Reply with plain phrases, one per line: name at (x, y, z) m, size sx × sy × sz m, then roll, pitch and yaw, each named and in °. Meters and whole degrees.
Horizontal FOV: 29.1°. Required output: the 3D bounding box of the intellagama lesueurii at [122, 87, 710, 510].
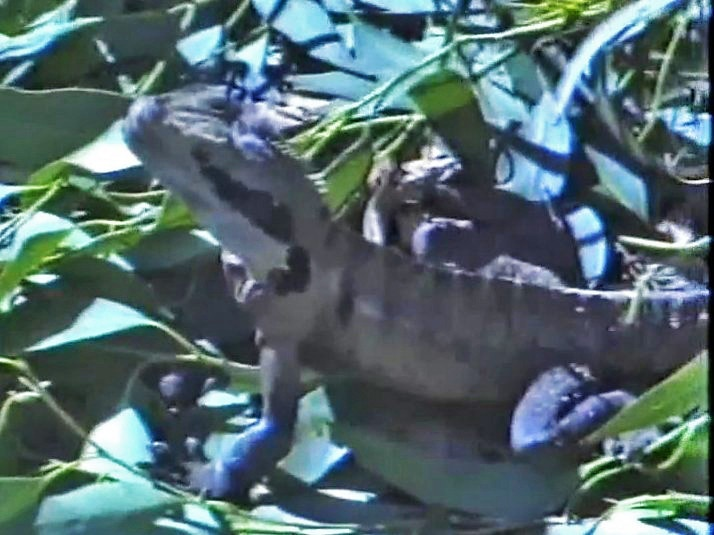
intellagama lesueurii at (0.034, 0.004, 1.030) m, size 0.429 × 0.217 × 0.206 m, roll 5°, pitch 0°, yaw -3°
